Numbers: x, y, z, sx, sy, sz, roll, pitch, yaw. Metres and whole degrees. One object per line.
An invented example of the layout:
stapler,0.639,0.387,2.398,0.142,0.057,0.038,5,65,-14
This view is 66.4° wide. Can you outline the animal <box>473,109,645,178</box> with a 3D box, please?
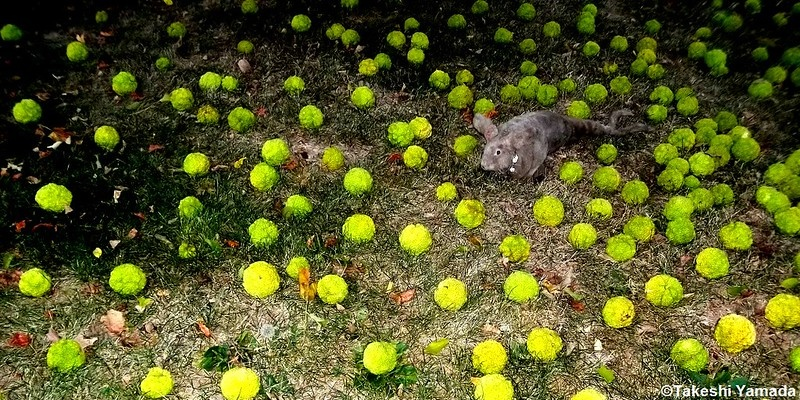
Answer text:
animal,1.962,-0.846,8.383,1.786,0.570,0.900,-34,37,-13
